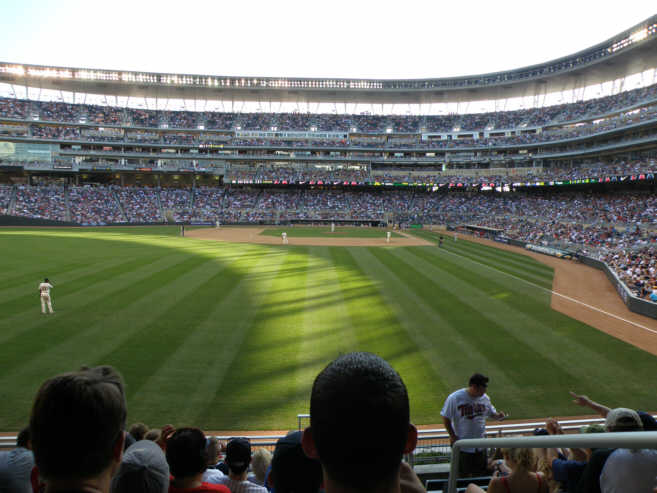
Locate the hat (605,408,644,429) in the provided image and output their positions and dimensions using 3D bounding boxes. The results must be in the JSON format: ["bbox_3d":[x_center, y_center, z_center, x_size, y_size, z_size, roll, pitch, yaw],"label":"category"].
[{"bbox_3d":[4.010,2.309,7.087,0.480,0.188,0.324,2,-4,36],"label":"hat"}]
